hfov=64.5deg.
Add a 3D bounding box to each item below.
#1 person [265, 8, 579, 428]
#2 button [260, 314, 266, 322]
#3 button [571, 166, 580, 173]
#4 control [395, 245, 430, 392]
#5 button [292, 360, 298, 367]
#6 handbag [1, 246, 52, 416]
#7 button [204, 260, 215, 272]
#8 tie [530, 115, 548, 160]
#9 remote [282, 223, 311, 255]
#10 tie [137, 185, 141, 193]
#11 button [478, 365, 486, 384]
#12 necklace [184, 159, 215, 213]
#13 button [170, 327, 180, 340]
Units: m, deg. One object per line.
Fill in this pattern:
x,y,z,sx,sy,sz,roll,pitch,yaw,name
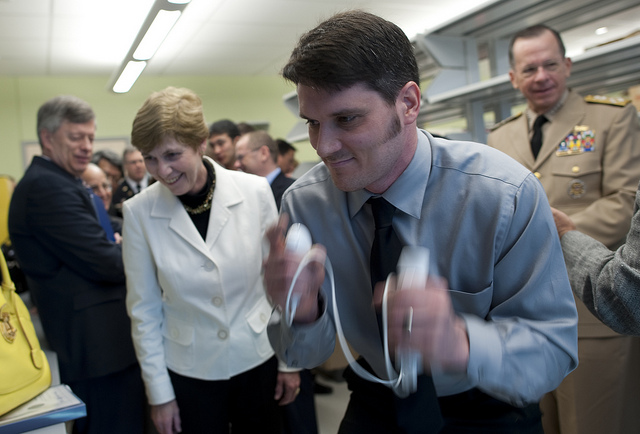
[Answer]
0.348,0.029,2.023,1.204,1.731,0.605,-1,10,26,person
-0.300,0.531,2.674,0.031,0.033,0.008,-13,-1,-39,button
1.435,-0.268,2.848,0.041,0.035,0.011,0,10,30,button
0.342,0.385,1.870,0.140,0.544,0.113,-5,9,3,control
-0.105,0.634,2.210,0.025,0.025,0.007,-44,23,14,button
-1.462,0.533,2.451,0.202,0.703,0.310,-9,10,-26,handbag
-0.580,0.254,2.618,0.046,0.051,0.012,0,-3,3,button
1.320,-0.491,3.051,0.050,0.310,0.077,5,-9,19,tie
-0.091,0.072,2.042,0.103,0.116,0.115,-1,41,3,remote
-1.953,-0.302,5.476,0.074,0.023,0.078,-4,43,-14,tie
0.608,0.591,1.903,0.013,0.054,0.051,-8,-36,2,button
-0.642,-0.147,2.721,0.141,0.211,0.073,3,3,15,necklace
-0.761,0.610,2.661,0.053,0.060,0.014,-1,-7,29,button
